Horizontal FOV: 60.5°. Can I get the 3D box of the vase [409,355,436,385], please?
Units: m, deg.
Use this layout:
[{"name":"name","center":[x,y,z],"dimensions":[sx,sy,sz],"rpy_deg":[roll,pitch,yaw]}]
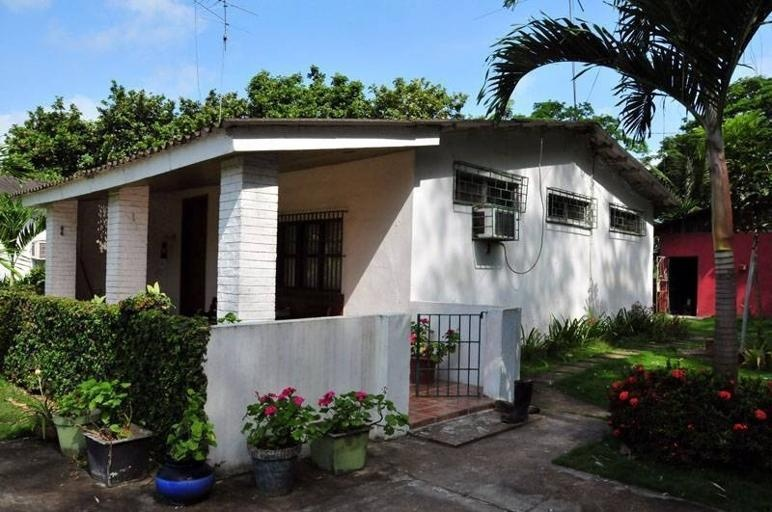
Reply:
[{"name":"vase","center":[0.695,2.214,12.684],"dimensions":[0.563,0.587,0.547],"rpy_deg":[1,-4,4]}]
